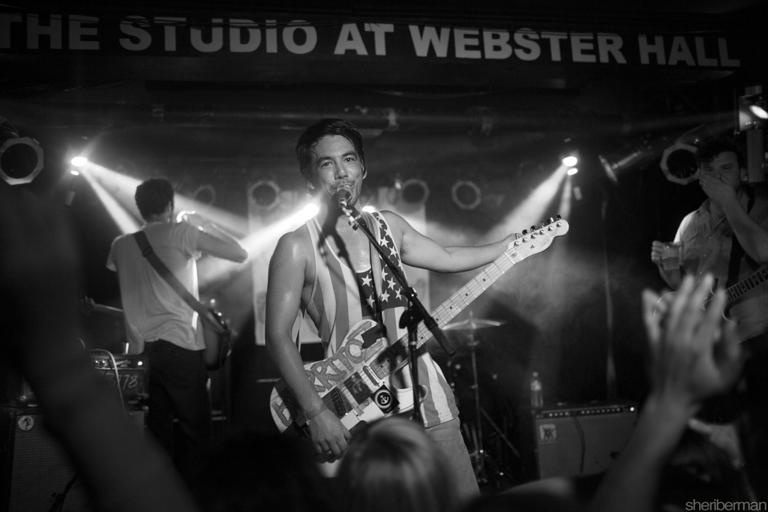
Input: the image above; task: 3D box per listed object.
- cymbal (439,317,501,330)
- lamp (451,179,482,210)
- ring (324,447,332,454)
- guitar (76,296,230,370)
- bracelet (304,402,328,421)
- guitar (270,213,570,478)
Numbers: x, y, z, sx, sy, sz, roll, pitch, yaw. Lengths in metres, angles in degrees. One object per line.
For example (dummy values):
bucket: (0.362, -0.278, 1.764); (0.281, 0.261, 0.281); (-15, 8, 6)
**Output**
cymbal: (0.957, 0.745, 7.396); (0.486, 0.121, 0.501); (-4, -8, 8)
lamp: (1.095, -0.809, 9.057); (0.367, 0.380, 0.092); (9, 0, -5)
ring: (-0.300, 1.035, 3.646); (0.044, 0.044, 0.011); (-3, 1, -6)
guitar: (-1.910, 0.551, 5.920); (1.271, 0.758, 0.493); (9, 11, -21)
bracelet: (-0.366, 0.834, 3.666); (0.118, 0.080, 0.029); (-30, -33, -4)
guitar: (0.183, 0.521, 3.856); (0.881, 0.247, 2.256); (-33, -13, -39)
